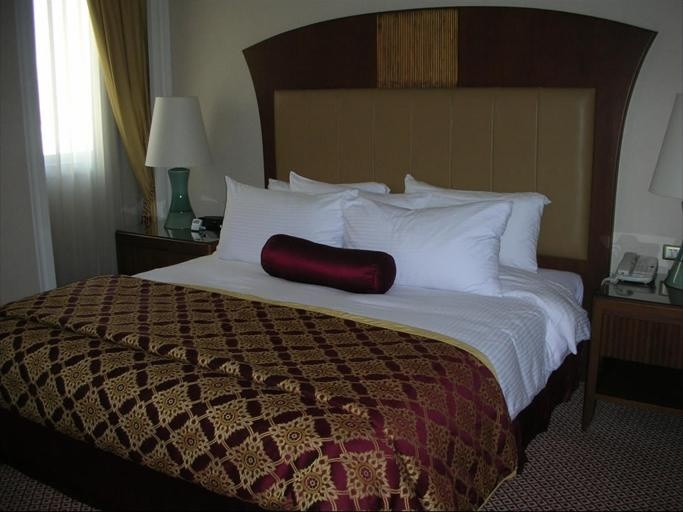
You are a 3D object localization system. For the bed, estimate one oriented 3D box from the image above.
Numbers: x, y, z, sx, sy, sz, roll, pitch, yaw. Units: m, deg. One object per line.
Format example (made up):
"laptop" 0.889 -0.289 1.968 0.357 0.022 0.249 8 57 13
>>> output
"bed" 0.024 -0.094 2.789 2.319 2.167 2.130 9 16 32

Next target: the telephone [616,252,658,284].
"telephone" 1.760 0.066 2.908 0.203 0.105 0.310 -2 19 38
